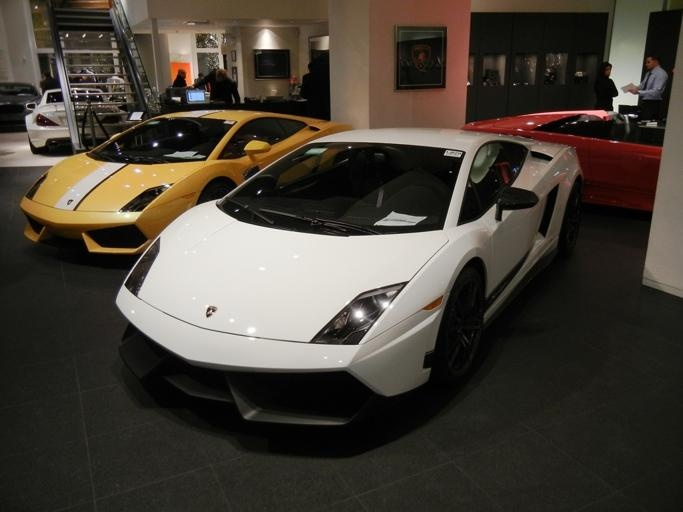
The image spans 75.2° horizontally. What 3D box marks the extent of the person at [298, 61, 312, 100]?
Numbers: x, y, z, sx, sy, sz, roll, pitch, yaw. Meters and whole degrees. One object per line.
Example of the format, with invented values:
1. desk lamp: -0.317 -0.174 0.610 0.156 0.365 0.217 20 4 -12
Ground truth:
1. person: -0.978 -4.832 12.307 0.336 0.933 0.651 -4 23 -5

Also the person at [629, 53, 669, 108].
1. person: 6.425 -3.626 9.155 0.413 0.916 0.505 11 27 28

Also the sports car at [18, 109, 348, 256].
1. sports car: -1.605 -0.973 5.031 1.724 0.867 3.003 9 23 29

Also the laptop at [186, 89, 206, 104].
1. laptop: -3.680 -4.028 11.305 0.621 0.385 0.467 -6 18 -11

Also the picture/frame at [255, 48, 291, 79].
1. picture/frame: -2.605 -7.181 16.453 0.976 1.475 0.105 1 12 -10

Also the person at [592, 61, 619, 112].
1. person: 6.014 -3.842 10.073 0.459 1.000 0.725 10 26 27

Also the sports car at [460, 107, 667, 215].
1. sports car: 2.923 -1.396 5.945 2.125 0.640 1.374 11 27 26
